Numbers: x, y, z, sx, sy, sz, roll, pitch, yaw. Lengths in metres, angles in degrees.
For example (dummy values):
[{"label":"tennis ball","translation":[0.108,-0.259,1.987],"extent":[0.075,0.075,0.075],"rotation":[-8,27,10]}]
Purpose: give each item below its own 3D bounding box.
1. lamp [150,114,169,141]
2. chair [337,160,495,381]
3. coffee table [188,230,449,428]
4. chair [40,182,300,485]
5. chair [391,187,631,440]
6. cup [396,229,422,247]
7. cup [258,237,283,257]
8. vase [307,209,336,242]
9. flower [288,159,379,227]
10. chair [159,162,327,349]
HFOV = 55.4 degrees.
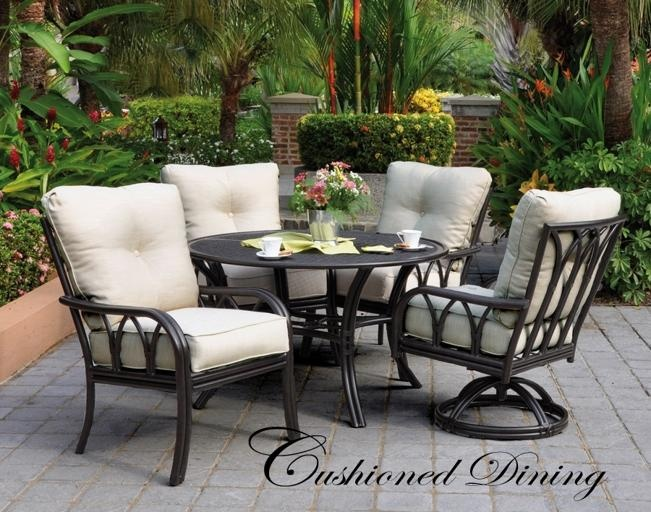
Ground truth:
[{"label":"lamp","translation":[-3.004,-2.319,11.328],"extent":[0.254,0.444,0.412],"rotation":[-5,13,-15]},{"label":"chair","translation":[0.495,-0.149,4.424],"extent":[1.283,0.942,0.917],"rotation":[-13,22,-21]},{"label":"coffee table","translation":[-0.190,0.243,3.633],"extent":[1.409,0.653,1.431],"rotation":[5,8,44]},{"label":"chair","translation":[-0.777,0.305,3.001],"extent":[0.969,1.283,0.867],"rotation":[12,19,43]},{"label":"chair","translation":[0.904,0.289,3.087],"extent":[1.131,1.263,0.567],"rotation":[0,14,4]},{"label":"cup","translation":[0.492,-0.102,3.628],"extent":[0.130,0.079,0.144],"rotation":[0,1,-7]},{"label":"cup","translation":[-0.296,-0.051,3.390],"extent":[0.129,0.083,0.128],"rotation":[0,1,0]},{"label":"vase","translation":[-0.015,-0.186,3.777],"extent":[0.214,0.124,0.200],"rotation":[0,2,-1]},{"label":"flower","translation":[0.037,-0.398,3.804],"extent":[0.521,0.351,0.487],"rotation":[13,10,40]},{"label":"chair","translation":[-0.401,-0.204,4.509],"extent":[1.308,0.844,1.193],"rotation":[11,15,22]}]
